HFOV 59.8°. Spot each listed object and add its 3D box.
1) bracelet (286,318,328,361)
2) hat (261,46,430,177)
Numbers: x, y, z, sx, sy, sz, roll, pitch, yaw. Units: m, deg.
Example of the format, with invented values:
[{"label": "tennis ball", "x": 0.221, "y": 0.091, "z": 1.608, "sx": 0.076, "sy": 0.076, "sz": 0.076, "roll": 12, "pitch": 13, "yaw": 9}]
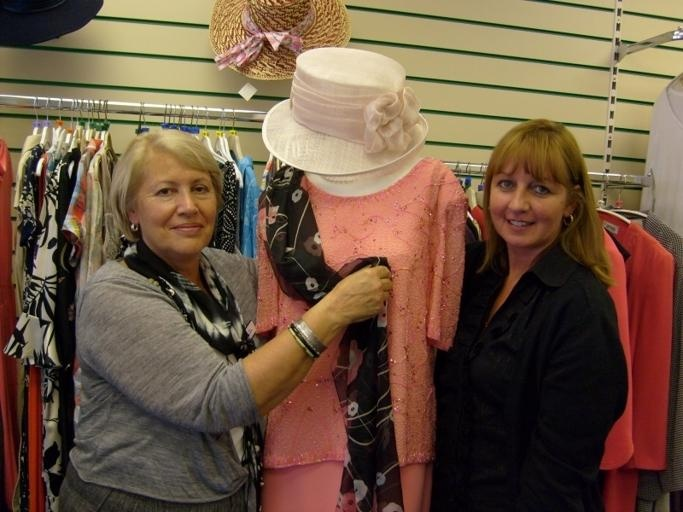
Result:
[{"label": "bracelet", "x": -0.105, "y": 0.257, "z": 1.880, "sx": 0.109, "sy": 0.114, "sz": 0.103, "roll": 34, "pitch": 0, "yaw": 32}, {"label": "hat", "x": -0.002, "y": -0.575, "z": 2.127, "sx": 0.584, "sy": 0.292, "sz": 0.602, "roll": 23, "pitch": 45, "yaw": 25}]
